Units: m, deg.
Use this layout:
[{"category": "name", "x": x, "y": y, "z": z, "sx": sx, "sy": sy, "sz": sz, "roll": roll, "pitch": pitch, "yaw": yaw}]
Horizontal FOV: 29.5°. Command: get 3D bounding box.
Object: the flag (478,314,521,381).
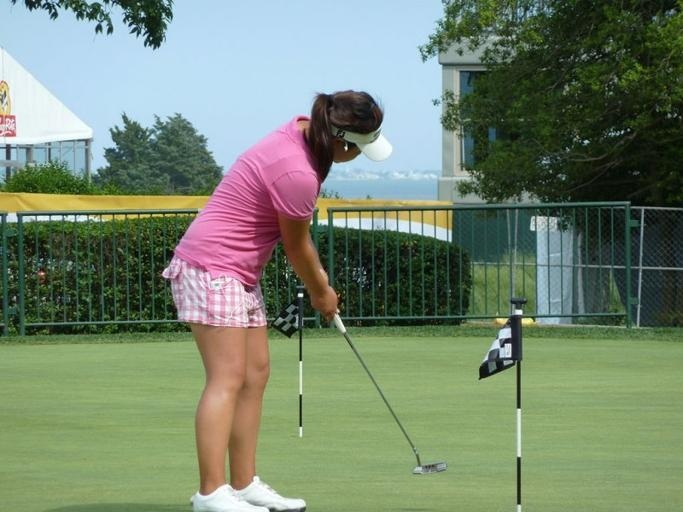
[{"category": "flag", "x": 1.381, "y": 0.779, "z": 11.244, "sx": 0.307, "sy": 0.595, "sz": 0.329, "roll": 5, "pitch": 4, "yaw": 20}]
